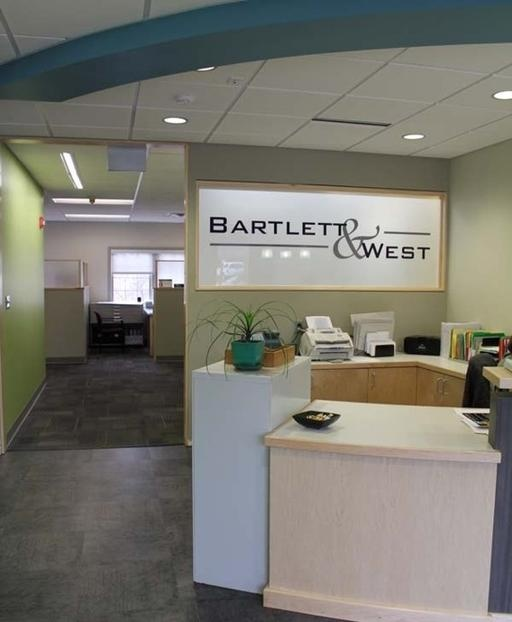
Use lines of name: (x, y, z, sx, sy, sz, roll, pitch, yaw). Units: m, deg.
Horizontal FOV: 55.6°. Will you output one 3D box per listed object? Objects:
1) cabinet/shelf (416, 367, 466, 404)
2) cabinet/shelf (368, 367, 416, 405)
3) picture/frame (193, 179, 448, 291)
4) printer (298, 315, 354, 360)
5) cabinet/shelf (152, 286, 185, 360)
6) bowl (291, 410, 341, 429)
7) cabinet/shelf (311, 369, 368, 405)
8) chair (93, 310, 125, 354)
cabinet/shelf: (1.560, 0.623, 4.057, 0.107, 0.308, 0.305, -3, 7, -25)
cabinet/shelf: (1.221, 0.648, 4.552, 0.468, 0.506, 0.329, 1, -1, -5)
picture/frame: (0.697, -0.699, 4.771, 2.571, 1.041, 0.132, 0, 3, -15)
printer: (0.621, 0.236, 4.373, 0.312, 0.259, 0.539, 1, 7, -7)
cabinet/shelf: (-1.589, 0.253, 8.834, 0.536, 1.314, 0.492, 0, 3, -18)
bowl: (0.259, 0.472, 2.109, 0.109, 0.040, 0.097, 0, 2, 17)
cabinet/shelf: (0.673, 0.633, 4.077, 0.372, 0.381, 0.139, 0, 1, -11)
chair: (-3.296, 0.421, 10.850, 0.791, 1.222, 0.817, 0, 5, -6)
